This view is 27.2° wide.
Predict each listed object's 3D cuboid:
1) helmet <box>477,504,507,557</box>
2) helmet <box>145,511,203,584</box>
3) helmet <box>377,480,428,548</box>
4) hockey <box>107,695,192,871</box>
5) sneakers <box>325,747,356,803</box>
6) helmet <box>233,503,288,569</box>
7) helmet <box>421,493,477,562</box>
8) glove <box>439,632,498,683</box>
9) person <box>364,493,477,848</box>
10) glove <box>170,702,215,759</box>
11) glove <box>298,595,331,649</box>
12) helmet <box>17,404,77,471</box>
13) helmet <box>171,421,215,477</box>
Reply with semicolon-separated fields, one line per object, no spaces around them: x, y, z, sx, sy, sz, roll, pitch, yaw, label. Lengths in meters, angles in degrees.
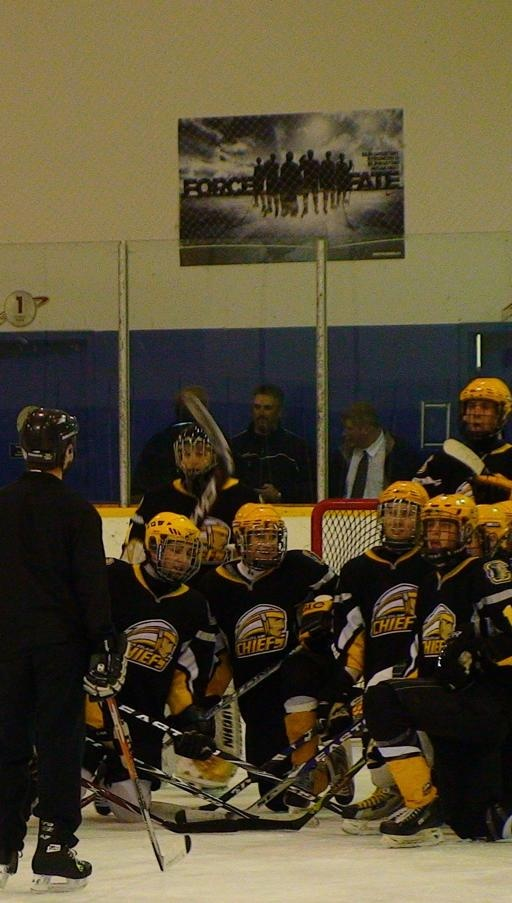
0.647;0.213;2.898;0.108;0.123;0.127;-2;-12;3;helmet
-0.225;0.265;3.026;0.164;0.172;0.191;8;-1;-33;helmet
0.416;0.175;3.002;0.143;0.178;0.186;-1;-7;12;helmet
-0.262;0.771;2.585;0.190;0.475;0.604;-2;2;-8;hockey
0.234;0.885;2.935;0.070;0.194;0.087;-5;-10;10;sneakers
0.011;0.249;3.148;0.158;0.172;0.186;0;-1;-10;helmet
0.503;0.192;2.757;0.135;0.152;0.168;-5;-11;26;helmet
0.503;0.490;2.514;0.121;0.123;0.045;-38;3;9;glove
0.426;0.530;2.674;0.303;0.811;0.343;-1;2;5;person
-0.172;0.727;2.783;0.110;0.056;0.144;20;18;-36;glove
0.182;0.482;3.021;0.103;0.124;0.130;6;-18;18;glove
-0.473;-0.024;2.470;0.144;0.143;0.160;1;-15;-3;helmet
-0.215;-0.002;3.788;0.155;0.180;0.202;-4;-9;0;helmet
